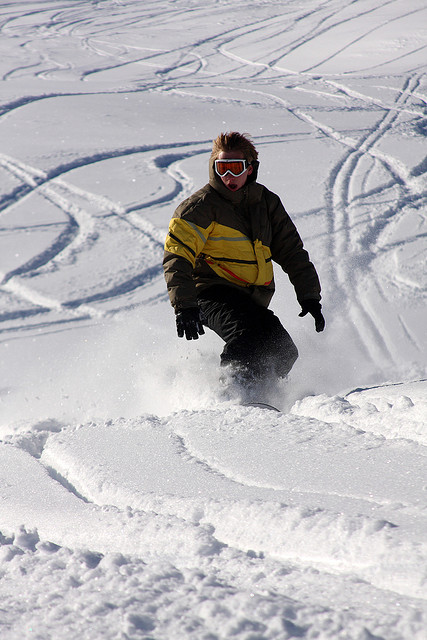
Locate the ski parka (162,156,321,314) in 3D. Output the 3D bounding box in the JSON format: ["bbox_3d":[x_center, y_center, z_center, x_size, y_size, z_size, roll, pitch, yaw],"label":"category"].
[{"bbox_3d":[0.115,-0.442,3.906,1.055,0.834,0.524,-4,9,-38],"label":"ski parka"}]

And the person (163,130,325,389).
[{"bbox_3d":[0.173,-0.326,3.682,0.841,1.137,0.968,9,36,6],"label":"person"}]
